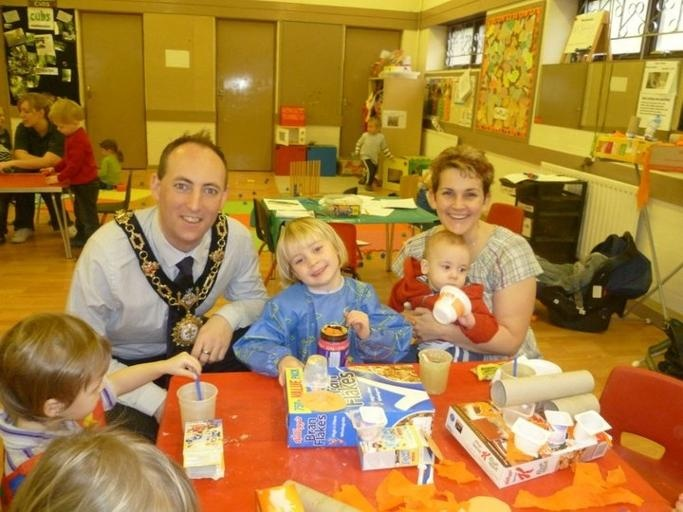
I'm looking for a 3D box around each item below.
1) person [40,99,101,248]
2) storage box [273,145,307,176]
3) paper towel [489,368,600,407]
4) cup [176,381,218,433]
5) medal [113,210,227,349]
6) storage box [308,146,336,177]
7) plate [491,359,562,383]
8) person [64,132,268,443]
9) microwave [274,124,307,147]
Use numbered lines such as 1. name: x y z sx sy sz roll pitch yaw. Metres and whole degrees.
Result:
1. person: -2.815 -0.929 5.450 0.553 1.734 0.545 -2 17 -20
2. storage box: -0.981 -1.834 9.726 0.553 0.585 0.154 1 19 -2
3. paper towel: 0.597 0.389 1.548 0.399 0.105 0.103 -1 -12 -23
4. cup: -0.416 0.425 1.510 0.090 0.146 0.119 -11 22 -42
5. medal: -0.728 0.095 2.132 0.523 0.550 0.272 -9 34 -37
6. storage box: -0.378 -1.865 9.948 0.571 0.594 0.217 -2 19 -12
7. plate: 0.605 0.369 1.668 0.134 0.049 0.127 2 12 2
8. person: -0.716 0.077 2.180 0.717 1.347 0.655 -4 15 -24
9. microwave: -0.948 -2.287 9.574 0.402 0.262 0.523 -2 13 -14
